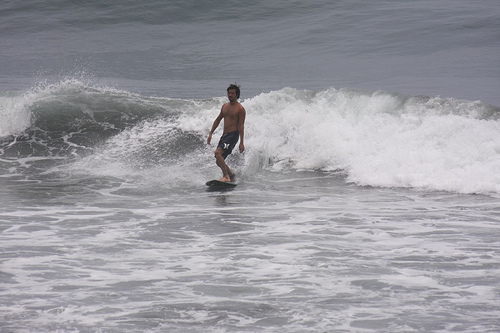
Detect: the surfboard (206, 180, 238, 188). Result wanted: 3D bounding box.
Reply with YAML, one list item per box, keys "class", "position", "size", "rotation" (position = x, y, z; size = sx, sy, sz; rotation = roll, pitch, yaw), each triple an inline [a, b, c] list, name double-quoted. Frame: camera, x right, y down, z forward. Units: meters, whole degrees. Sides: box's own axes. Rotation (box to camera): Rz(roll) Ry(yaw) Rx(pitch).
- class: "surfboard"
  position: [-0.594, 0.383, 15.782]
  size: [0.758, 0.134, 0.428]
  rotation: [-5, 16, -17]

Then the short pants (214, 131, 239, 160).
- class: "short pants"
  position: [-0.562, -0.537, 16.277]
  size: [0.327, 0.617, 0.551]
  rotation: [15, 25, 35]
